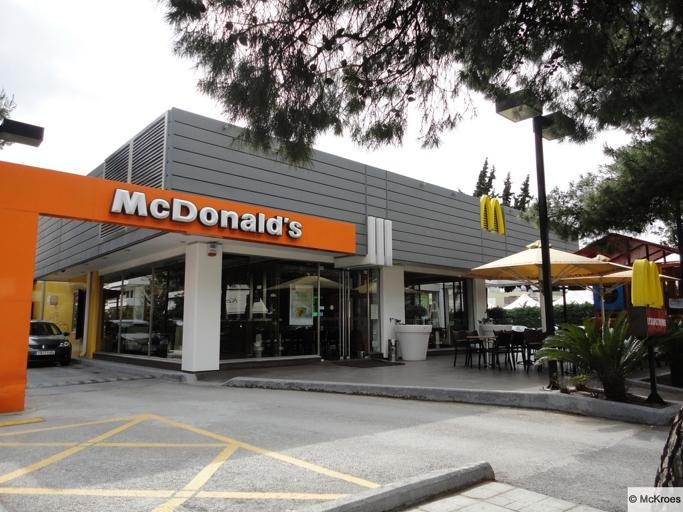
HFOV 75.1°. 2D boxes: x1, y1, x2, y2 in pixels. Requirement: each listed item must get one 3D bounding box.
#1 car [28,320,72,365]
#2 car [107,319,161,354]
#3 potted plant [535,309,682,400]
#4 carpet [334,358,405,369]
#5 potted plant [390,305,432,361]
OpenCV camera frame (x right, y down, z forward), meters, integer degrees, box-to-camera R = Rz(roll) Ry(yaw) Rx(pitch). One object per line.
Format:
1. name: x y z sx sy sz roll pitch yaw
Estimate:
1. car: -10.641 3.189 16.202 1.231 1.619 1.404 4 -10 -33
2. car: -7.026 2.720 15.346 2.631 1.024 1.491 0 -4 37
3. potted plant: 4.300 1.659 7.314 1.907 1.400 0.587 -2 -9 3
4. carpet: 0.766 3.379 14.014 2.156 0.099 1.868 -7 -10 38
5. potted plant: 2.546 2.898 15.682 1.356 1.133 1.319 1 -9 10
